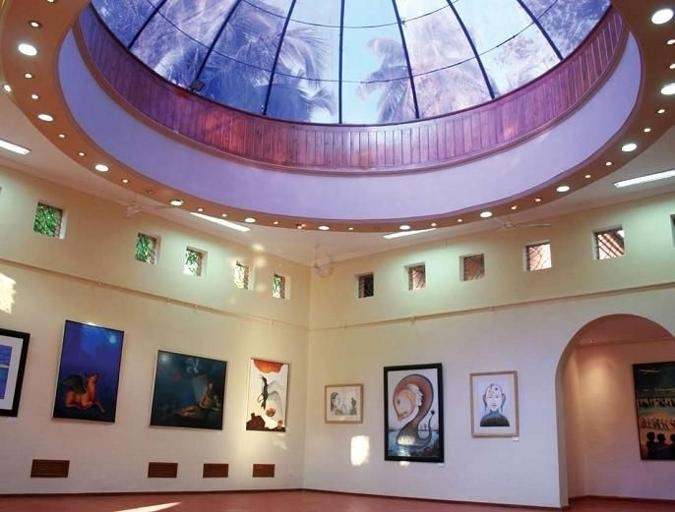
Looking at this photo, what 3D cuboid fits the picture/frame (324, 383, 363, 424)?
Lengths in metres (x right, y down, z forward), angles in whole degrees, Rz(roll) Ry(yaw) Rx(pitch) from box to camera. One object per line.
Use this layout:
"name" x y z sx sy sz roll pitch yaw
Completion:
"picture/frame" 0.264 4.895 16.121 1.089 1.114 0.090 -10 -20 32

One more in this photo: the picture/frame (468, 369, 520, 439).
"picture/frame" 4.452 4.167 13.568 1.478 2.230 0.148 -9 -16 36
